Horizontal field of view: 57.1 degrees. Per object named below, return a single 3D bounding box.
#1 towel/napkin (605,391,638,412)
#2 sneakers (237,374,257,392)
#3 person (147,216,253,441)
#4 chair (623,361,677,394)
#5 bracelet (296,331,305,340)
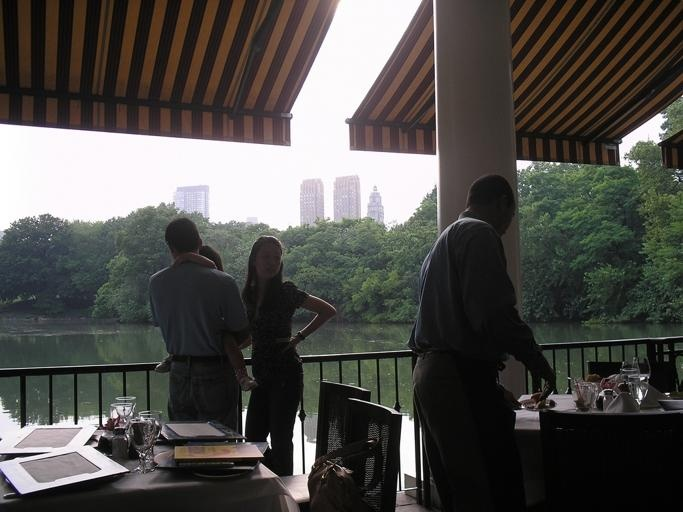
[{"bbox_3d":[1.591,0.839,3.574,0.137,0.065,0.103,-20,-17,12],"label":"towel/napkin"},{"bbox_3d":[-0.584,0.764,3.857,0.119,0.051,0.092,22,-2,-6],"label":"sneakers"},{"bbox_3d":[-0.895,0.406,3.916,0.619,1.309,0.277,-1,-5,-6],"label":"person"},{"bbox_3d":[2.076,0.822,4.253,0.290,0.179,0.172,0,-16,-29],"label":"chair"},{"bbox_3d":[-0.298,0.573,4.534,0.057,0.025,0.052,22,-17,9],"label":"bracelet"}]
